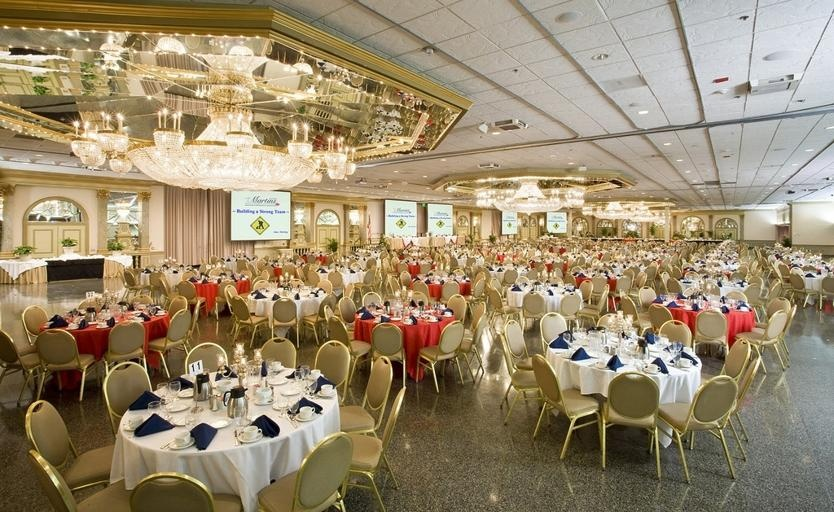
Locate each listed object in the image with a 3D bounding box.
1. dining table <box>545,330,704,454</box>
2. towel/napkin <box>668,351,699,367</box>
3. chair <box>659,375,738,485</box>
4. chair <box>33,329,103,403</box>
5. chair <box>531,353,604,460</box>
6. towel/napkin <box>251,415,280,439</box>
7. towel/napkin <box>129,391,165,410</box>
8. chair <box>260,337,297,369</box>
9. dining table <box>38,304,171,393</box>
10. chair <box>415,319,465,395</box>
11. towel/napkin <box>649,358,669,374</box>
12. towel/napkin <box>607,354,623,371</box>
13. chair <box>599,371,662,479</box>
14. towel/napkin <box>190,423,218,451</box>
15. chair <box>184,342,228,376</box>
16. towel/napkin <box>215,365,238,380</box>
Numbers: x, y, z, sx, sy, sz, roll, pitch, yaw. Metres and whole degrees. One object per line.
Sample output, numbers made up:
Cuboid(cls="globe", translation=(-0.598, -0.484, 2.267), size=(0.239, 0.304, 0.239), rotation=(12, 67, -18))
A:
Cuboid(cls="dining table", translation=(3.263, 2.176, 8.210), size=(2.089, 1.012, 1.952), rotation=(0, 2, 3))
Cuboid(cls="towel/napkin", translation=(4.093, 1.564, 7.504), size=(0.291, 0.113, 0.279), rotation=(-1, -4, -9))
Cuboid(cls="chair", translation=(4.168, 2.426, 7.149), size=(1.153, 1.538, 0.757), rotation=(0, 2, -30))
Cuboid(cls="chair", translation=(-6.137, 1.846, 8.471), size=(0.898, 1.239, 0.562), rotation=(1, 2, 6))
Cuboid(cls="chair", translation=(2.345, 2.233, 7.619), size=(1.026, 1.500, 1.070), rotation=(2, 2, 24))
Cuboid(cls="towel/napkin", translation=(-1.881, 2.141, 6.173), size=(0.227, 0.122, 0.323), rotation=(2, -3, -41))
Cuboid(cls="towel/napkin", translation=(-3.656, 1.942, 6.573), size=(0.290, 0.100, 0.295), rotation=(-33, -41, 30))
Cuboid(cls="chair", translation=(-2.202, 1.534, 7.831), size=(0.475, 0.761, 0.550), rotation=(0, -6, -4))
Cuboid(cls="dining table", translation=(-5.549, 1.663, 9.232), size=(1.541, 0.871, 1.468), rotation=(0, -1, -7))
Cuboid(cls="chair", translation=(0.437, 1.793, 9.174), size=(0.815, 1.257, 1.032), rotation=(1, 2, 5))
Cuboid(cls="towel/napkin", translation=(3.629, 1.633, 7.346), size=(0.222, 0.177, 0.248), rotation=(1, 1, 14))
Cuboid(cls="towel/napkin", translation=(2.973, 1.615, 7.383), size=(0.241, 0.176, 0.210), rotation=(-13, 13, -34))
Cuboid(cls="chair", translation=(3.146, 2.387, 7.186), size=(0.864, 1.538, 0.662), rotation=(1, 2, 12))
Cuboid(cls="towel/napkin", translation=(-2.626, 2.225, 6.060), size=(0.286, 0.280, 0.119), rotation=(30, -40, 3))
Cuboid(cls="chair", translation=(-3.265, 1.554, 7.600), size=(0.606, 0.550, 0.563), rotation=(0, -12, -27))
Cuboid(cls="towel/napkin", translation=(-2.772, 1.690, 7.145), size=(0.242, 0.095, 0.254), rotation=(1, 3, 21))
